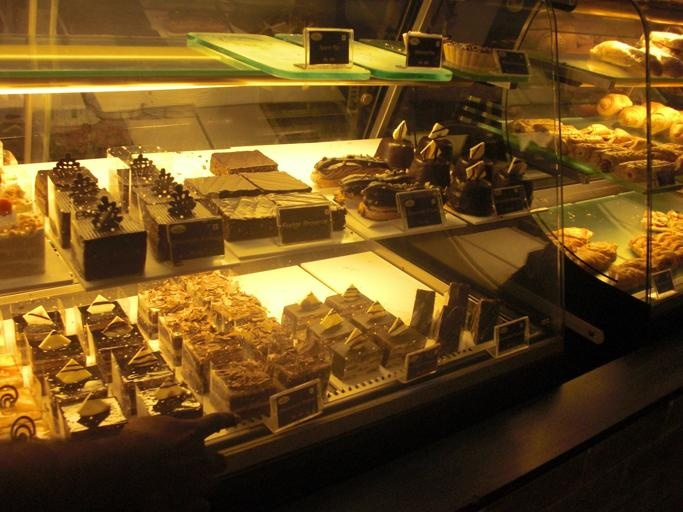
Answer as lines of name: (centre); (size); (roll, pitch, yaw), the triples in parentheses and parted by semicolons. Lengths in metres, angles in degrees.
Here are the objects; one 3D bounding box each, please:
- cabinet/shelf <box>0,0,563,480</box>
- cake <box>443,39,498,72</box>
cabinet/shelf: (-0.247, -0.056, 2.299); (2.448, 1.159, 1.234); (-13, -61, -31)
cake: (0.587, -0.878, 2.548); (0.209, 0.223, 0.057); (-27, -47, -59)
